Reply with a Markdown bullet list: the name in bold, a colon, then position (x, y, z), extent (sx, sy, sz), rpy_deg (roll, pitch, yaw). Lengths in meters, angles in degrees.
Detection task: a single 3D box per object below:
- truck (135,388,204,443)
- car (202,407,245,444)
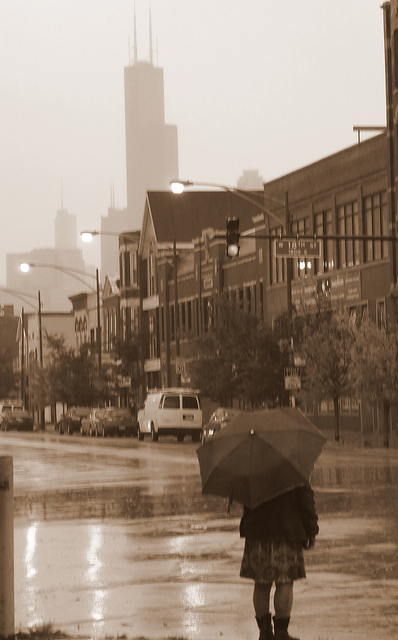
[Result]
- **truck**: position (-1.147, 3.390, 42.147), extent (1.385, 1.515, 3.231), rpy_deg (4, -1, -36)
- **car**: position (0.541, 2.790, 33.268), extent (0.579, 1.173, 2.115), rpy_deg (-1, -5, -5)
